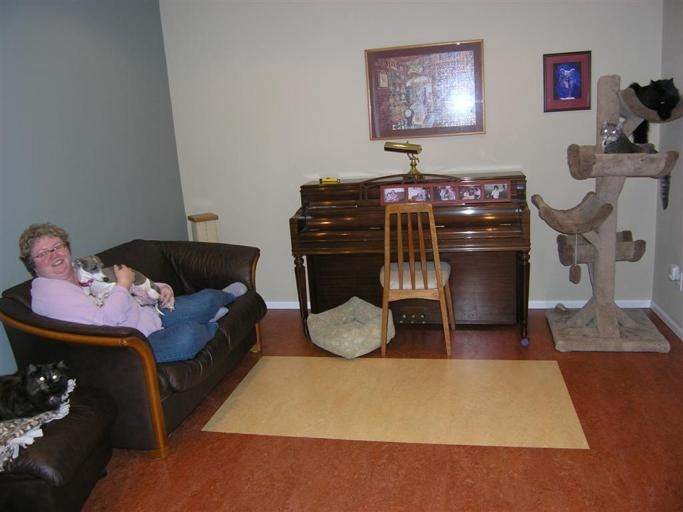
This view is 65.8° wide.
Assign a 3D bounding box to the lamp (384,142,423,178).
[{"bbox_3d":[0.486,-0.769,4.233,0.310,0.339,0.105,2,33,11],"label":"lamp"}]

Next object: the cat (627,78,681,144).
[{"bbox_3d":[2.171,-1.011,3.757,0.291,0.439,0.520,0,15,16],"label":"cat"}]

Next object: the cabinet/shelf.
[{"bbox_3d":[0.556,0.006,4.305,1.733,1.319,0.673,-2,18,9],"label":"cabinet/shelf"}]

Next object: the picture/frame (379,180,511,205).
[{"bbox_3d":[0.793,-0.475,4.063,0.989,0.172,0.083,-1,15,11],"label":"picture/frame"}]

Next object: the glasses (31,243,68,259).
[{"bbox_3d":[-1.659,-0.025,3.000,0.184,0.087,0.059,-13,18,-32],"label":"glasses"}]

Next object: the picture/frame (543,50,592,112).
[{"bbox_3d":[1.789,-1.399,4.159,0.452,0.624,0.040,-1,11,11],"label":"picture/frame"}]

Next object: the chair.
[{"bbox_3d":[0.573,0.131,4.028,0.559,1.143,0.602,-1,15,12],"label":"chair"}]

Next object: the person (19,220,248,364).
[{"bbox_3d":[-1.216,0.229,3.430,1.380,0.869,0.933,-5,10,-23],"label":"person"}]

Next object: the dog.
[{"bbox_3d":[-1.338,0.186,3.248,0.613,0.306,0.213,4,-5,-3],"label":"dog"}]

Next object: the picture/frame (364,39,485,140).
[{"bbox_3d":[0.714,-1.398,4.337,0.794,0.605,0.028,-2,13,11],"label":"picture/frame"}]
